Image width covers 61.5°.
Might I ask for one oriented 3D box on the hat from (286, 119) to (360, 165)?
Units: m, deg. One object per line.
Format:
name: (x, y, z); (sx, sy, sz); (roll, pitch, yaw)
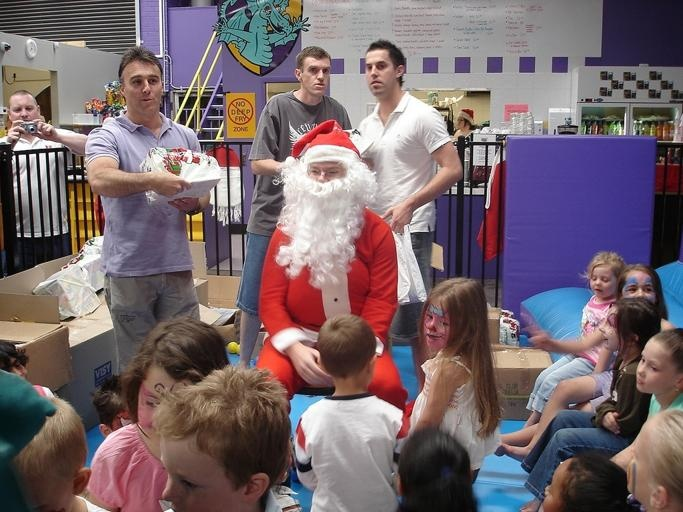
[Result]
hat: (-0.137, -0.543, 2.943); (0.440, 0.234, 0.323); (2, 12, 34)

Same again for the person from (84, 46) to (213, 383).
person: (-0.956, -0.226, 2.856); (0.574, 1.619, 0.483); (-1, 6, -26)

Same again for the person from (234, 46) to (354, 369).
person: (-0.246, -0.200, 3.494); (0.710, 2.116, 0.682); (3, 8, -18)

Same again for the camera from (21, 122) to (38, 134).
camera: (-1.780, -0.729, 3.266); (0.064, 0.070, 0.228); (-2, 6, -35)

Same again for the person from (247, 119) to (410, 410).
person: (-0.049, 0.003, 2.728); (0.682, 1.336, 0.667); (1, 5, -4)
